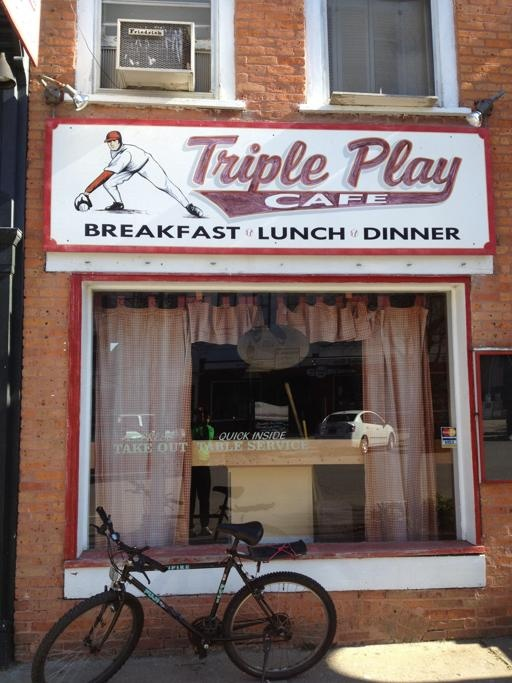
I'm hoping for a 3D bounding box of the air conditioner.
[{"bbox_3d":[-0.706,-2.153,6.938,0.896,0.560,0.461,1,-4,-2],"label":"air conditioner"}]

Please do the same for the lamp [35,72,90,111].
[{"bbox_3d":[-1.420,-1.847,6.718,0.422,0.275,0.252,1,10,6],"label":"lamp"}]

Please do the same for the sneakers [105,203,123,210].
[{"bbox_3d":[-1.025,-0.997,6.690,0.172,0.060,0.048,0,-2,-1],"label":"sneakers"}]

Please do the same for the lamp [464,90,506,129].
[{"bbox_3d":[1.781,-1.789,7.022,0.362,0.268,0.185,-3,11,-18],"label":"lamp"}]
